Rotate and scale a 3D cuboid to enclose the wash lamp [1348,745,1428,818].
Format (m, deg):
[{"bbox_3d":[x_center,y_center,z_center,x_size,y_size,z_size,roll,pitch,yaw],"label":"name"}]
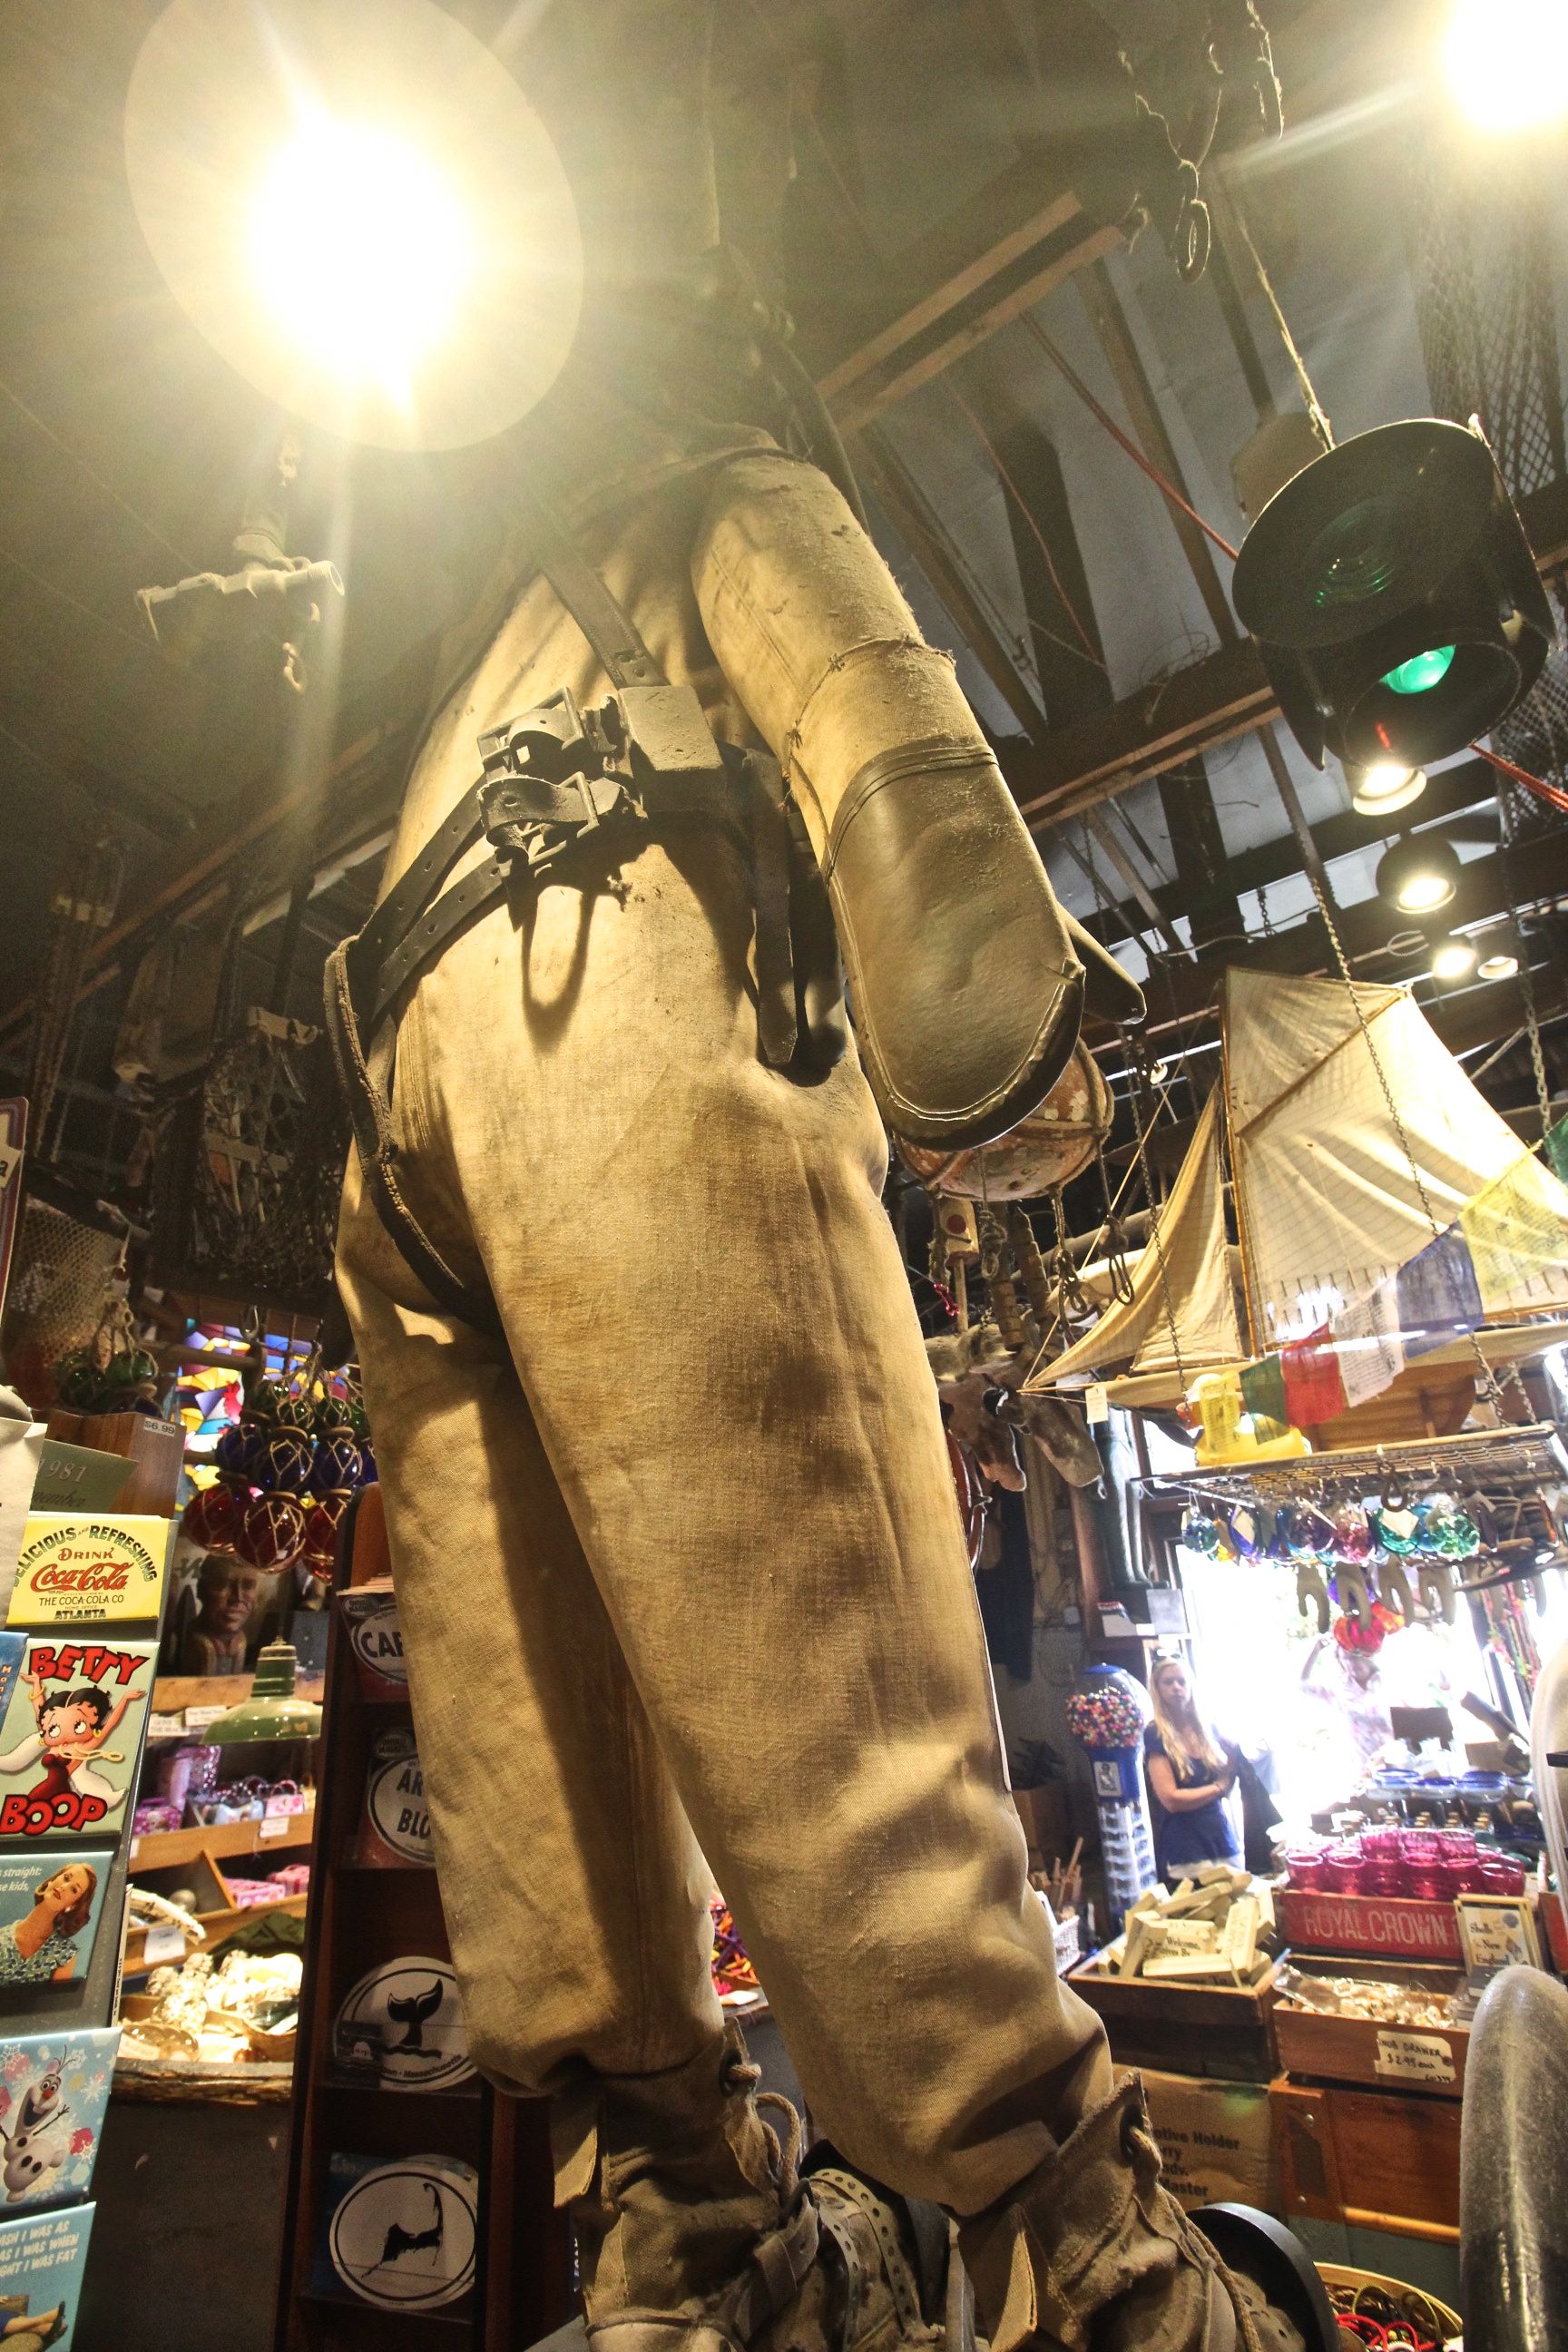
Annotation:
[{"bbox_3d":[1.241,-0.795,3.077,0.169,0.159,0.170,-15,16,-36],"label":"wash lamp"}]

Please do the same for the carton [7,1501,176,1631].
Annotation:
[{"bbox_3d":[-1.156,0.654,2.471,0.061,0.185,0.270,-5,-11,39],"label":"carton"}]

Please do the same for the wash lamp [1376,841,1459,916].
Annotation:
[{"bbox_3d":[2.248,-1.079,5.278,0.246,0.284,0.211,5,-21,-29],"label":"wash lamp"}]
